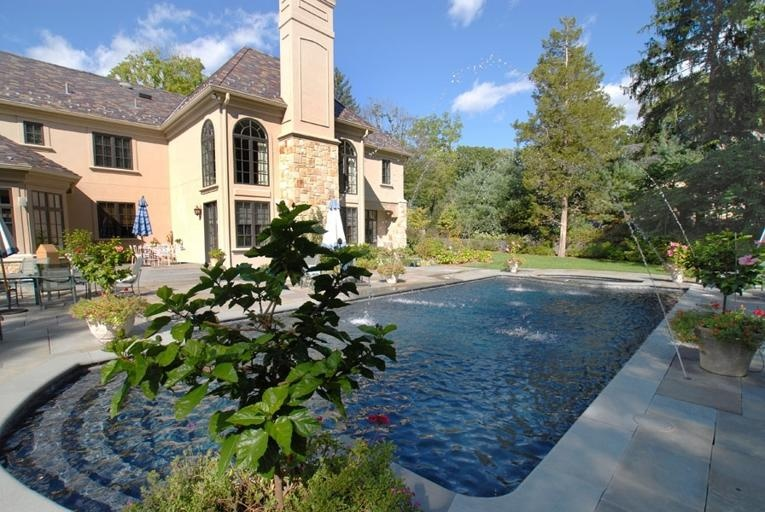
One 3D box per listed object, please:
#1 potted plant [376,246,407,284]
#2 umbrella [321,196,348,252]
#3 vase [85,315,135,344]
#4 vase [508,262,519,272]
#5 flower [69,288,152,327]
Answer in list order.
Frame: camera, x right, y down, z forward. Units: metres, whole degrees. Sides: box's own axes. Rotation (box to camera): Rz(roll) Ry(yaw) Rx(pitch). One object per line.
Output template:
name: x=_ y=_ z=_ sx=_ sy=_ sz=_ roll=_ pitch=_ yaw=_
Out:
potted plant: x=0.322 y=0.533 z=21.022 sx=1.643 sy=2.126 sz=1.844 roll=0 pitch=6 yaw=8
umbrella: x=-2.163 y=-1.502 z=19.050 sx=0.892 sy=2.029 sz=3.004 roll=-1 pitch=12 yaw=-8
vase: x=-7.004 y=1.862 z=10.961 sx=0.908 sy=0.711 sz=0.942 roll=1 pitch=0 yaw=-16
vase: x=7.238 y=0.595 z=23.521 sx=0.465 sy=0.558 sz=1.104 roll=4 pitch=12 yaw=13
flower: x=-7.435 y=1.516 z=11.691 sx=1.724 sy=0.827 sz=0.616 roll=0 pitch=12 yaw=-6
